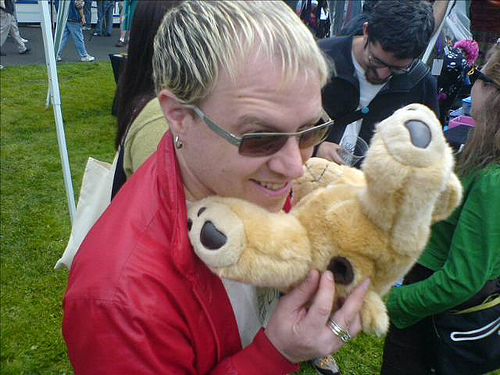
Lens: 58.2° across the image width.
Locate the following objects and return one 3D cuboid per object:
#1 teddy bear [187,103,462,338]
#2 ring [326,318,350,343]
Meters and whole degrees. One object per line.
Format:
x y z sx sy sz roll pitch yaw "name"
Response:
0.327 0.224 2.231 1.141 1.020 0.937 9 -25 47 "teddy bear"
0.403 0.649 2.048 0.038 0.101 0.082 -43 26 -13 "ring"
